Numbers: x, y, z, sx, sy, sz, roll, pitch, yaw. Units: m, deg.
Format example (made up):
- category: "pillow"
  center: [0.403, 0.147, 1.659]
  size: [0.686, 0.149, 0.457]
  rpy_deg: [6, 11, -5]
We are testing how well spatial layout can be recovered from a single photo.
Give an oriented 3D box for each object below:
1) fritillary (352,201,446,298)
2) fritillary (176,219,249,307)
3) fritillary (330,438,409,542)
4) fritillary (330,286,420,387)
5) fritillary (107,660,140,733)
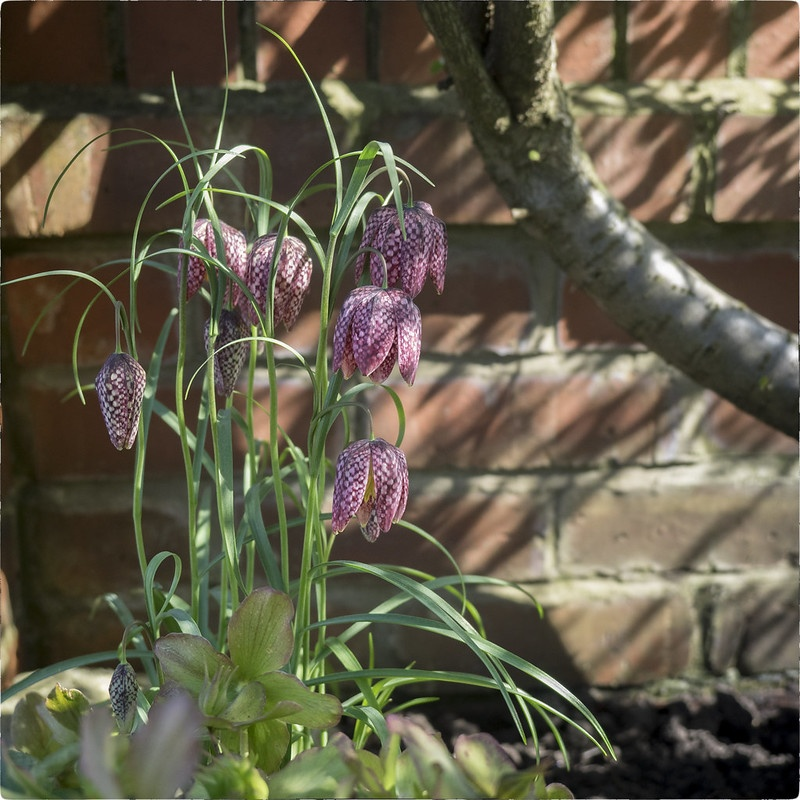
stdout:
- category: "fritillary"
  center: [0.004, -0.179, 1.492]
  size: [0.104, 0.125, 0.110]
  rpy_deg: [7, 4, 33]
- category: "fritillary"
  center: [-0.242, -0.179, 1.603]
  size: [0.086, 0.136, 0.101]
  rpy_deg: [-1, 2, 9]
- category: "fritillary"
  center: [-0.045, 0.106, 1.544]
  size: [0.083, 0.114, 0.089]
  rpy_deg: [-2, 7, -44]
- category: "fritillary"
  center: [-0.032, -0.080, 1.508]
  size: [0.094, 0.115, 0.106]
  rpy_deg: [1, -8, 39]
- category: "fritillary"
  center: [-0.342, 0.356, 1.510]
  size: [0.036, 0.086, 0.092]
  rpy_deg: [-13, 3, -16]
